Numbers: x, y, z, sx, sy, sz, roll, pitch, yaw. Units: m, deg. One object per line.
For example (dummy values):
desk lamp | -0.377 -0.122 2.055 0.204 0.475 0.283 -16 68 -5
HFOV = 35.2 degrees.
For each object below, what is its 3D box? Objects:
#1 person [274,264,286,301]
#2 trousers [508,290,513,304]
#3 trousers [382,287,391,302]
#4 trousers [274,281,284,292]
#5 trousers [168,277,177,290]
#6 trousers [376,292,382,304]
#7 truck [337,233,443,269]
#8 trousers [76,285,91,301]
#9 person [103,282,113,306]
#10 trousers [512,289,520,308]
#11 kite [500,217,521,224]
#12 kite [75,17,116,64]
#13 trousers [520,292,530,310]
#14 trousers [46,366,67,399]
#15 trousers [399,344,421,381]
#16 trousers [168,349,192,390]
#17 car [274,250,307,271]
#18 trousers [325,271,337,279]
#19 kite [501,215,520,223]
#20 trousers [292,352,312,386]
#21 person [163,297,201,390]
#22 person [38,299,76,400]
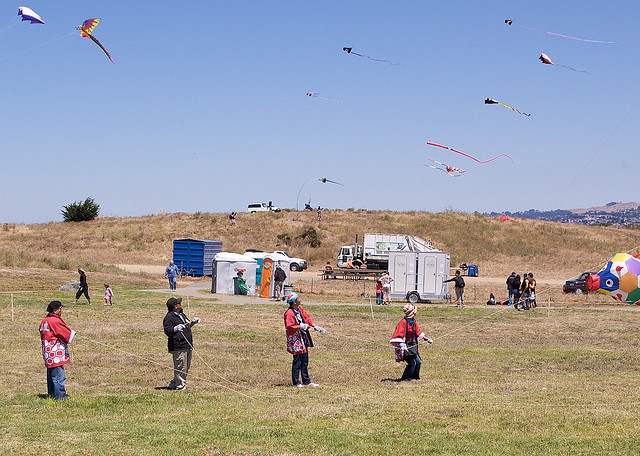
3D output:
person | -2.096 2.714 51.398 0.511 1.570 1.374 0 6 -2
trousers | 9.568 3.408 50.597 0.162 0.759 0.604 2 7 10
trousers | 3.265 3.254 50.332 0.343 0.782 0.548 2 7 8
trousers | -2.102 2.939 51.413 0.564 0.617 0.086 0 -3 5
trousers | -7.704 2.823 52.475 0.324 0.827 1.292 0 7 -9
trousers | 2.969 3.480 50.477 0.220 0.483 0.615 0 6 -2
truck | 4.964 1.780 72.190 7.101 2.744 2.135 -1 -3 17
trousers | -10.861 2.973 46.034 0.704 0.764 0.255 5 -19 -6
person | -9.488 2.902 44.918 0.409 0.954 1.613 -1 7 -12
trousers | 9.643 3.416 49.658 0.328 0.834 1.458 2 7 10
kite | 18.597 -0.739 98.559 1.542 0.415 0.456 13 -6 9
kite | -7.328 -6.149 32.560 1.626 1.302 0.693 32 54 28
trousers | 10.166 3.539 49.210 0.578 0.793 0.807 0 -13 10
trousers | -7.741 4.468 29.491 0.591 0.942 0.489 0 6 -5
trousers | 2.825 4.369 31.723 0.648 0.794 0.377 0 6 -4
trousers | -4.298 4.263 30.749 0.654 1.262 0.404 -1 7 -13
car | -2.405 2.479 78.048 2.617 1.211 1.228 -1 3 6
trousers | 0.726 3.205 69.219 0.643 0.696 1.449 2 7 11
kite | 18.830 -0.884 99.913 1.404 0.421 0.616 14 -4 8
trousers | -0.585 4.319 31.229 0.566 0.992 0.452 0 7 -9
person | -4.295 3.488 30.762 0.905 2.801 0.659 0 6 -2
person | -7.802 3.540 29.750 0.905 2.728 1.242 -1 7 -16
